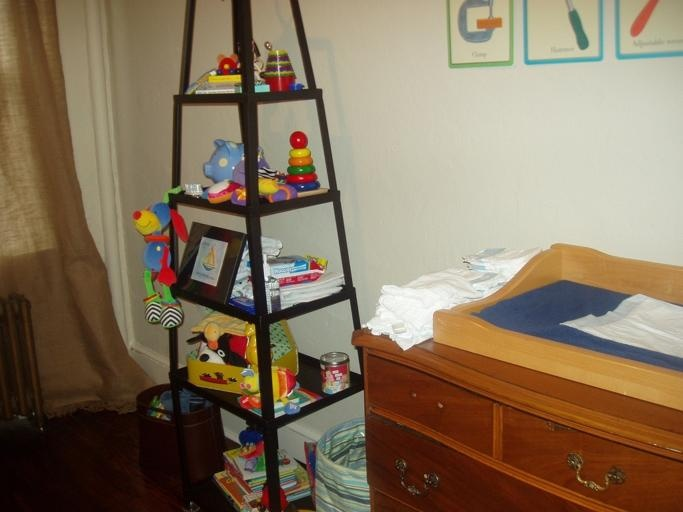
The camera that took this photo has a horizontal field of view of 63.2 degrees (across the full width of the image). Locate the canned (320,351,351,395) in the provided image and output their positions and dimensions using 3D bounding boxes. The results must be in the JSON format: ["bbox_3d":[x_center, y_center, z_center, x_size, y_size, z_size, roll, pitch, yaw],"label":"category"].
[{"bbox_3d":[-0.020,0.415,1.993,0.127,0.142,0.129,-1,13,2],"label":"canned"}]

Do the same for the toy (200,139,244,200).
[{"bbox_3d":[-0.356,-0.292,1.905,0.214,0.219,0.162,-1,0,-6],"label":"toy"}]

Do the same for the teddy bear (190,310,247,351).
[{"bbox_3d":[-0.454,0.269,2.127,0.171,0.053,0.169,8,38,17],"label":"teddy bear"}]

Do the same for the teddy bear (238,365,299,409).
[{"bbox_3d":[-0.253,0.449,1.947,0.173,0.142,0.075,1,2,17],"label":"teddy bear"}]

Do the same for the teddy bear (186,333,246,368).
[{"bbox_3d":[-0.449,0.343,2.066,0.167,0.121,0.055,14,8,32],"label":"teddy bear"}]

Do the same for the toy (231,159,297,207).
[{"bbox_3d":[-0.252,-0.242,1.831,0.213,0.124,0.199,-3,13,-4],"label":"toy"}]

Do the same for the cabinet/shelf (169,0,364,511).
[{"bbox_3d":[-0.303,0.064,2.083,0.615,2.015,0.767,-11,16,-35],"label":"cabinet/shelf"}]
